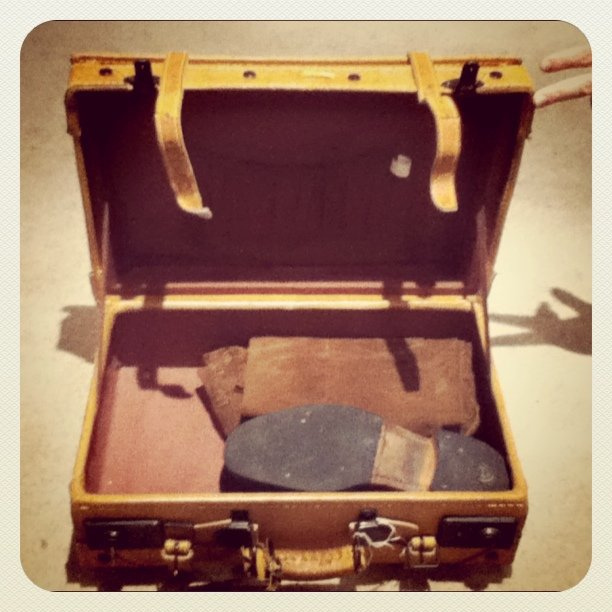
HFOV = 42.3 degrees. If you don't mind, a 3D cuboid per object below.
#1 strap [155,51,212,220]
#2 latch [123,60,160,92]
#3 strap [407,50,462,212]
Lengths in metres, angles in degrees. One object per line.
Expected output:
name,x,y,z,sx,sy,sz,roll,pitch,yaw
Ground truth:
strap,-0.311,-0.378,2.032,0.101,0.415,0.410,-9,53,-5
latch,-0.397,-0.553,1.912,0.048,0.092,0.023,-1,55,-4
strap,0.328,-0.445,1.966,0.074,0.187,0.411,-8,98,-7
